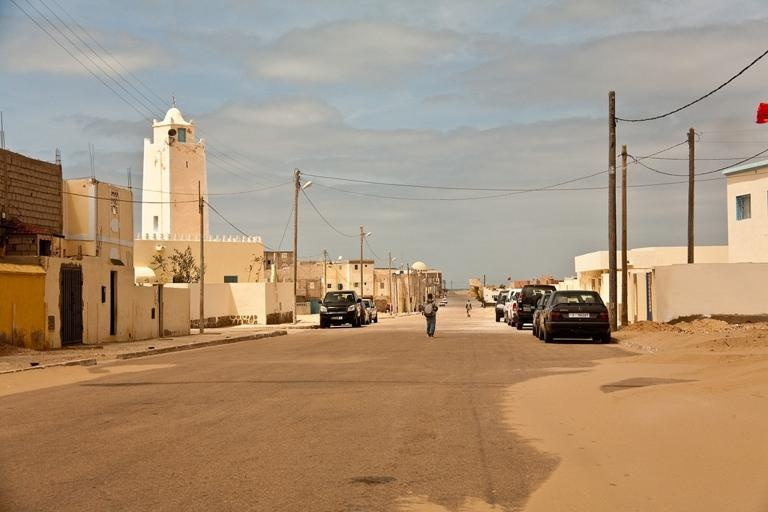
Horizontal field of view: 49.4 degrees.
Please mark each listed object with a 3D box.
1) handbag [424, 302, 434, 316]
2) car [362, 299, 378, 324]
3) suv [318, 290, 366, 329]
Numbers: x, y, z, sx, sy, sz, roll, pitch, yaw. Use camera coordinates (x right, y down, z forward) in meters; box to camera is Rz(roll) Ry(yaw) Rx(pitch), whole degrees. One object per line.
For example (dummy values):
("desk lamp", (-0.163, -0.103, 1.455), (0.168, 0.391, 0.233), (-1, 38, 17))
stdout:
("handbag", (1.764, 2.122, 32.992), (0.367, 0.496, 0.501), (0, -8, 3))
("car", (-0.958, 3.775, 57.021), (0.981, 0.747, 1.739), (-1, -9, 2))
("suv", (-2.395, 3.003, 46.046), (1.973, 1.943, 2.473), (0, 2, 22))
